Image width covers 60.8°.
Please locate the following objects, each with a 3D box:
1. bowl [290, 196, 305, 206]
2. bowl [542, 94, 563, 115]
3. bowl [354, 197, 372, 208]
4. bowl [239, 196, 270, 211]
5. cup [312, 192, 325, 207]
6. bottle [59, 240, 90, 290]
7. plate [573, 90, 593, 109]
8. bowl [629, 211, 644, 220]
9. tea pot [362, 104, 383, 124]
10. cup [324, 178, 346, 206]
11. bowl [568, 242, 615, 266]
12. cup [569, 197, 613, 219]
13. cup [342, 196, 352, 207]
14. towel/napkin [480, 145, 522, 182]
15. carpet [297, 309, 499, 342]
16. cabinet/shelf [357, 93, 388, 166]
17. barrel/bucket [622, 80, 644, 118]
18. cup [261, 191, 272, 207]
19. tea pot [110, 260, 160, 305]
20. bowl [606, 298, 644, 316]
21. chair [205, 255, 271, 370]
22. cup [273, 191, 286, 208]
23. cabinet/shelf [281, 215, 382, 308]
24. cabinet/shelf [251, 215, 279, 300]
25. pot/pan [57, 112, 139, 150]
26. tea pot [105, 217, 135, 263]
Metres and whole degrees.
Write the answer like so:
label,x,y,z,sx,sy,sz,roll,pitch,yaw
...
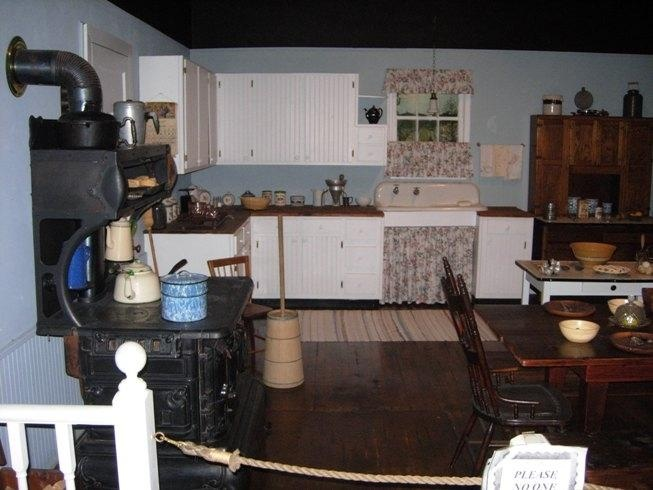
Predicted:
label,x,y,z,sx,sy,sz,roll,pitch,yaw
bowl,-0.363,-0.552,6.885,0.136,0.080,0.135,-1,8,0
bowl,2.794,-1.718,6.887,0.249,0.229,0.243,-1,8,0
bowl,0.470,-0.551,7.006,0.187,0.114,0.193,0,13,0
bowl,-0.851,-0.500,6.621,0.336,0.166,0.281,1,13,2
cup,-0.102,-0.579,6.832,0.133,0.177,0.188,0,-1,1
bottle,-1.412,0.130,3.170,0.132,0.309,0.184,-5,14,-20
plate,3.243,-1.833,6.996,0.188,0.277,0.297,11,17,40
bowl,3.790,-0.365,6.794,0.147,0.065,0.145,-1,4,0
tea pot,0.547,-1.564,6.876,0.357,0.316,0.222,0,5,-1
cup,0.109,-0.692,6.967,0.261,0.377,0.310,0,13,1
bowl,2.403,0.065,5.034,0.265,0.114,0.263,-1,7,0
cup,3.246,-0.452,6.849,0.454,0.169,0.284,1,6,16
cup,0.259,-0.556,7.002,0.143,0.119,0.084,0,6,-3
towel/napkin,2.235,-1.069,7.110,0.457,0.363,0.036,1,6,0
carpet,0.758,0.874,6.017,2.301,0.025,1.034,-2,12,8
cabinet/shelf,0.551,-1.402,6.852,0.374,0.871,0.414,1,13,6
barrel/bucket,3.830,-1.820,6.933,0.235,0.449,0.497,7,15,27
cup,-0.732,-0.579,6.855,0.186,0.190,0.182,0,5,0
tea pot,-1.144,0.217,3.380,0.263,0.222,0.358,3,11,-1
bowl,2.064,0.409,3.904,0.282,0.074,0.178,2,4,27
chair,-0.773,0.548,4.798,0.434,0.845,0.437,-18,28,-34
cup,-0.557,-0.580,6.954,0.184,0.194,0.181,0,5,0
cabinet/shelf,0.082,0.157,6.769,1.400,1.128,0.560,0,8,23
cabinet/shelf,-0.684,0.163,6.497,0.398,0.980,0.105,0,9,-31
pot/pan,-1.290,-0.625,3.049,0.417,0.187,0.372,9,16,20
tea pot,-1.280,-0.036,3.448,0.177,0.254,0.255,11,12,26
